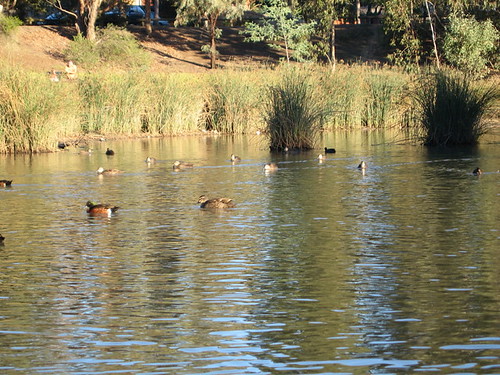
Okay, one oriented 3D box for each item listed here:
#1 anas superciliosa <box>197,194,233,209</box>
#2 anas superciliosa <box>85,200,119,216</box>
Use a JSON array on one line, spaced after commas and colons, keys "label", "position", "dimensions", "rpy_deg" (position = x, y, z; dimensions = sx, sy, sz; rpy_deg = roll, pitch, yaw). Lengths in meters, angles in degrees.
[{"label": "anas superciliosa", "position": [-0.609, 0.260, 16.256], "dimensions": [0.644, 0.185, 0.673], "rpy_deg": [-3, 11, -11]}, {"label": "anas superciliosa", "position": [-2.663, 0.393, 15.800], "dimensions": [0.736, 0.347, 0.240], "rpy_deg": [1, 0, 11]}]
